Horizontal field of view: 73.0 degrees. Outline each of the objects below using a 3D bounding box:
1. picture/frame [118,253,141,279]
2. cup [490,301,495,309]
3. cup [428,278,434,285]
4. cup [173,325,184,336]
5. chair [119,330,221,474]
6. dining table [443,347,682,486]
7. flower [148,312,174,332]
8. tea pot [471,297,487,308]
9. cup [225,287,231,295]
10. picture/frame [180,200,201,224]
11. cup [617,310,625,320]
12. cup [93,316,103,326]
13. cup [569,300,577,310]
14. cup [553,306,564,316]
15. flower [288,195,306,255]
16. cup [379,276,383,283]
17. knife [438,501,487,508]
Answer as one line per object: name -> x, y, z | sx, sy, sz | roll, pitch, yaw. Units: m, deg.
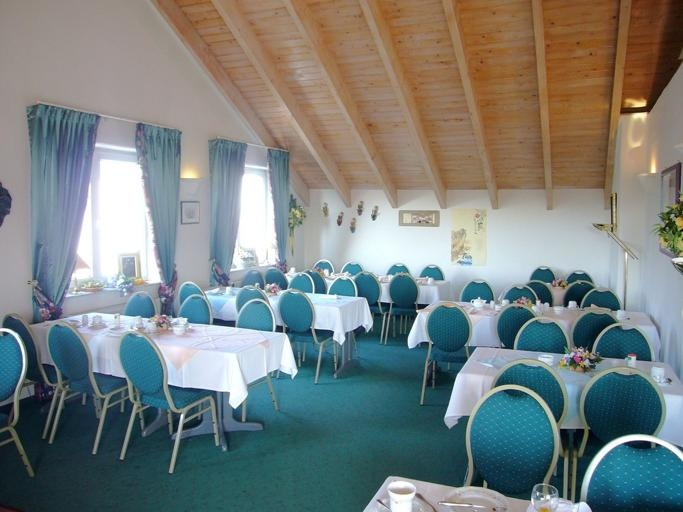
picture/frame -> -3.209, 0.149, 6.948 | 0.045, 0.478, 0.353 | -3, 2, 41
cup -> 2.073, 0.670, 6.340 | 0.082, 0.097, 0.081 | -1, 9, 0
cup -> 1.647, 0.462, 8.474 | 0.115, 0.097, 0.092 | 2, 4, 31
cup -> -1.778, 0.810, 5.036 | 0.101, 0.076, 0.103 | 1, 3, 0
chair -> -1.726, 1.259, 4.435 | 0.877, 1.236, 0.770 | 5, 10, 35
dining table -> 1.813, 1.090, 4.090 | 1.467, 0.404, 0.984 | 1, 5, 31
flower -> -2.008, 0.746, 5.153 | 0.194, 0.094, 0.197 | 1, 5, -15
tea pot -> 1.898, 0.638, 6.358 | 0.186, 0.135, 0.122 | -3, 3, 19
cup -> -1.844, 0.564, 7.554 | 0.101, 0.117, 0.099 | 0, 8, 0
picture/frame -> -2.579, -0.752, 7.836 | 0.044, 0.346, 0.388 | 0, 6, 31
cup -> 3.420, 0.725, 5.643 | 0.072, 0.078, 0.071 | -3, 15, 1
cup -> -2.832, 0.766, 5.380 | 0.112, 0.115, 0.115 | 0, 2, 0
cup -> 3.225, 0.667, 6.420 | 0.136, 0.106, 0.200 | -1, -4, 20
cup -> 2.850, 0.719, 6.055 | 0.109, 0.099, 0.111 | 0, 2, 0
flower -> -1.029, -0.728, 10.719 | 0.373, 1.420, 0.991 | -1, 8, -4
cup -> 0.757, 0.438, 8.678 | 0.069, 0.102, 0.036 | -11, -10, 6
knife -> 0.616, 1.259, 2.333 | 0.233, 0.014, 0.041 | 1, 8, 8
